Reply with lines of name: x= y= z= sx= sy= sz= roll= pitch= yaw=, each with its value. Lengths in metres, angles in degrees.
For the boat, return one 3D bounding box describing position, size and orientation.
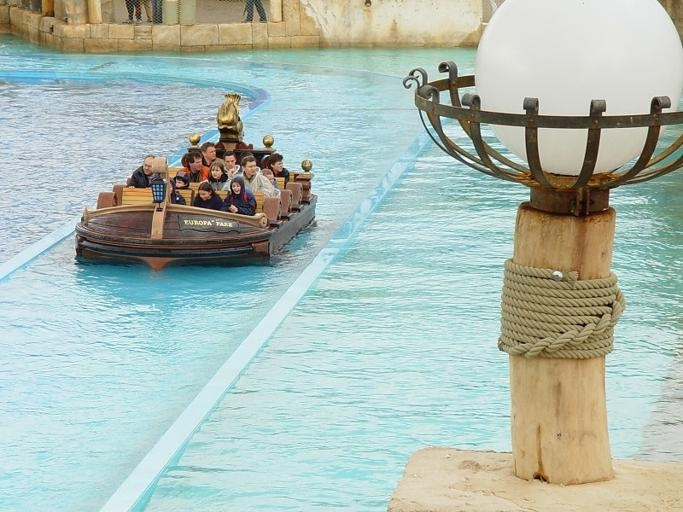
boat: x=-1.635 y=-0.561 z=13.101 sx=2.067 sy=0.674 sz=2.418 roll=3 pitch=9 yaw=11
